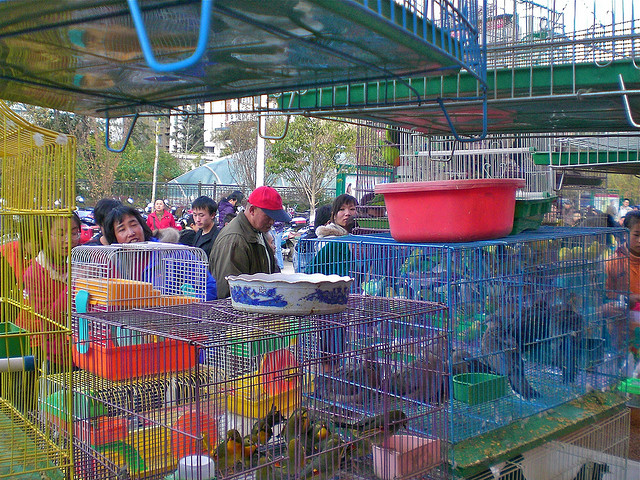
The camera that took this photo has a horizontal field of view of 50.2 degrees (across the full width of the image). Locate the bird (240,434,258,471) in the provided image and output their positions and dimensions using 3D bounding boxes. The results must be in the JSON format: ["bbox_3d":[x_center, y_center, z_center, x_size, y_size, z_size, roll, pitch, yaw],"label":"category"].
[{"bbox_3d":[-0.286,0.849,2.753,0.042,0.160,0.058,8,-14,-29],"label":"bird"}]

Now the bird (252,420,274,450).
[{"bbox_3d":[-0.228,0.792,2.801,0.083,0.064,0.093,-2,-39,-11],"label":"bird"}]

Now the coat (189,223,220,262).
[{"bbox_3d":[-0.979,0.021,5.803,0.238,0.338,0.177,-4,-24,18],"label":"coat"}]

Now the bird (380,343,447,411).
[{"bbox_3d":[0.420,0.634,3.201,0.318,0.255,0.184,-2,-9,13],"label":"bird"}]

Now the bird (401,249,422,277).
[{"bbox_3d":[0.488,0.119,3.491,0.083,0.143,0.152,-3,7,-24],"label":"bird"}]

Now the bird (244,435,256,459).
[{"bbox_3d":[-0.287,0.831,2.757,0.040,0.076,0.098,-1,7,-6],"label":"bird"}]

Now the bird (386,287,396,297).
[{"bbox_3d":[0.375,0.276,3.596,0.041,0.050,0.040,-5,-4,41],"label":"bird"}]

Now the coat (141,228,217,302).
[{"bbox_3d":[-0.914,0.134,4.425,0.456,0.462,0.272,-3,-4,-22],"label":"coat"}]

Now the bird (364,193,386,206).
[{"bbox_3d":[0.801,-0.571,9.742,0.188,0.132,0.470,0,7,-4],"label":"bird"}]

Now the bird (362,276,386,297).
[{"bbox_3d":[0.292,0.248,3.683,0.069,0.093,0.111,5,-10,-33],"label":"bird"}]

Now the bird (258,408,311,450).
[{"bbox_3d":[-0.125,0.769,2.814,0.081,0.137,0.309,-10,-4,-40],"label":"bird"}]

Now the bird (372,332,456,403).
[{"bbox_3d":[0.435,0.612,3.085,0.358,0.353,0.431,1,7,10],"label":"bird"}]

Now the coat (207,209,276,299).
[{"bbox_3d":[-0.563,0.158,5.139,0.397,0.750,0.782,7,8,16],"label":"coat"}]

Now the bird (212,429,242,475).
[{"bbox_3d":[-0.363,0.836,2.675,0.121,0.155,0.121,-2,7,-16],"label":"bird"}]

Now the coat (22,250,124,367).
[{"bbox_3d":[-1.142,0.264,3.213,0.233,0.438,0.467,-2,-10,9],"label":"coat"}]

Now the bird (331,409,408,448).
[{"bbox_3d":[0.217,0.806,2.967,0.324,0.140,0.234,2,-3,-1],"label":"bird"}]

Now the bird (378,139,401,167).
[{"bbox_3d":[1.059,-1.270,10.292,0.284,0.281,0.331,-6,10,-38],"label":"bird"}]

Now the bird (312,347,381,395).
[{"bbox_3d":[0.150,0.632,3.149,0.254,0.077,0.274,-6,-2,-38],"label":"bird"}]
